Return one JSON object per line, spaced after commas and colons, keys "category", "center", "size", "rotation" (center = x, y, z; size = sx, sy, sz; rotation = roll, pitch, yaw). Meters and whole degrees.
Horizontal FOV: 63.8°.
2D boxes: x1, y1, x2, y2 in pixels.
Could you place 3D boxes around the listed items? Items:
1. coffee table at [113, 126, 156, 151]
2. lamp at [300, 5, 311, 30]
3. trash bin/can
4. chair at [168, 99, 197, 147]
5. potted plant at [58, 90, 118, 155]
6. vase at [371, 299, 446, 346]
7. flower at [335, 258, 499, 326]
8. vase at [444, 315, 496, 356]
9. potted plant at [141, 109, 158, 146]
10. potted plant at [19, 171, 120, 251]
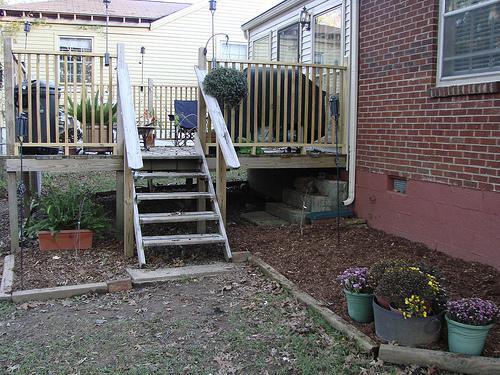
{"category": "coffee table", "center": [-2.080, -0.876, 7.433], "size": [0.510, 0.420, 0.510], "rotation": [-8, 6, -35]}
{"category": "lamp", "center": [1.158, -3.564, 8.503], "size": [0.207, 0.488, 0.236], "rotation": [-4, 12, -12]}
{"category": "trash bin/can", "center": [-3.170, -0.997, 6.067], "size": [0.608, 1.188, 1.600], "rotation": [-7, 14, -26]}
{"category": "chair", "center": [-1.426, -1.441, 9.036], "size": [0.837, 1.016, 0.878], "rotation": [4, 14, 13]}
{"category": "potted plant", "center": [-2.649, -1.018, 6.707], "size": [0.684, 1.128, 2.622], "rotation": [-7, 14, -24]}
{"category": "vase", "center": [1.240, 1.084, 3.222], "size": [0.323, 0.176, 0.364], "rotation": [1, 4, 0]}
{"category": "flower", "center": [1.265, 0.780, 3.392], "size": [0.834, 0.517, 0.709], "rotation": [4, 6, 36]}
{"category": "vase", "center": [1.639, 1.130, 3.012], "size": [0.255, 0.216, 0.271], "rotation": [3, -3, 3]}
{"category": "potted plant", "center": [-2.092, -1.178, 8.500], "size": [0.233, 0.651, 0.223], "rotation": [10, 3, 13]}
{"category": "potted plant", "center": [-2.963, 0.393, 6.549], "size": [1.062, 0.721, 1.121], "rotation": [1, 7, 15]}
